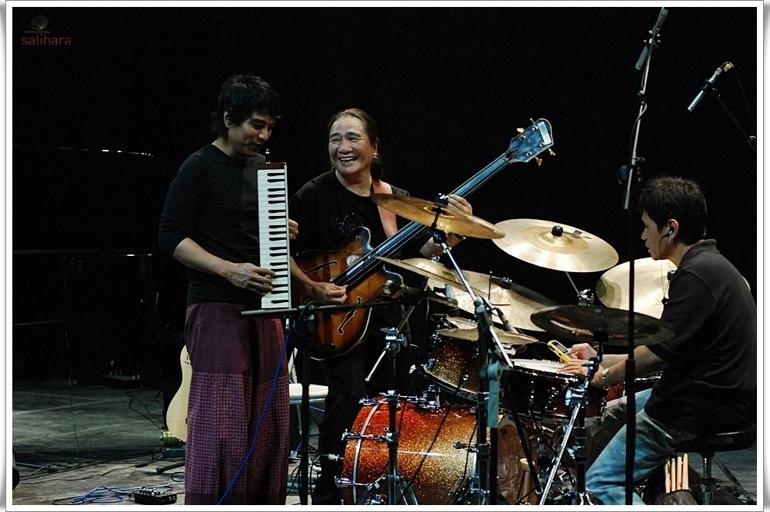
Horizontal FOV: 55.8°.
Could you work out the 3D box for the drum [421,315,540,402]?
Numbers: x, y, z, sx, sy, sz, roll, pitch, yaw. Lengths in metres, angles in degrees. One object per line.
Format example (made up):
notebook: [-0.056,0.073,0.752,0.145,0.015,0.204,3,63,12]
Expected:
drum: [0.742,0.807,5.741,0.728,0.461,0.666,23,5,-2]

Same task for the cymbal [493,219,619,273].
cymbal: [1.416,-0.084,6.024,0.646,0.123,0.609,6,30,-14]

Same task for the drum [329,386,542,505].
drum: [0.522,1.480,5.923,1.064,1.096,1.151,2,-10,28]

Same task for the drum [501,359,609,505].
drum: [1.194,1.269,5.242,0.669,1.051,1.284,1,-10,16]

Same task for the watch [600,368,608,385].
watch: [1.612,0.883,5.355,0.032,0.070,0.052,8,-2,-11]

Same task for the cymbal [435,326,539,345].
cymbal: [0.830,0.621,5.652,0.745,0.107,0.603,-5,-12,42]

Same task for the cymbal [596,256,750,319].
cymbal: [2.393,0.226,6.397,0.873,0.217,0.774,-22,35,-14]

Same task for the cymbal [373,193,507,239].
cymbal: [0.382,-0.285,5.191,0.918,0.277,0.410,5,-9,-11]

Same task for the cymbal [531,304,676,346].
cymbal: [1.535,0.489,5.169,0.521,0.173,0.497,5,-9,0]
